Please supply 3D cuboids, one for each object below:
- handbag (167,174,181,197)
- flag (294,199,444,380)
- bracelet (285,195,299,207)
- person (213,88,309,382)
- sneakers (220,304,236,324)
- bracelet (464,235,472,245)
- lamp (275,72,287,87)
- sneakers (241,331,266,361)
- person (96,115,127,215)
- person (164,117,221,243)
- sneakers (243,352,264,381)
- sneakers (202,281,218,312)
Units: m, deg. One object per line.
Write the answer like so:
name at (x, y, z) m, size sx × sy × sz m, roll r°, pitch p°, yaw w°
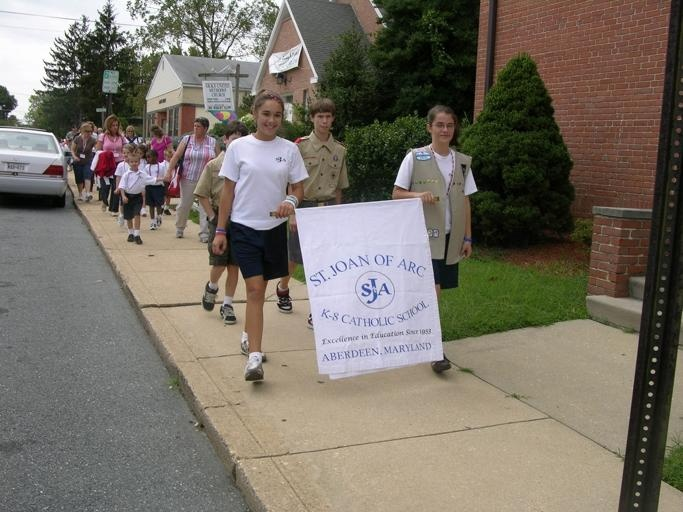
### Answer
handbag at (-3.576, -1.520, 12.576) m, size 0.281 × 0.521 × 0.487 m, roll 4°, pitch 7°, yaw -5°
flag at (0.283, 0.286, 5.119) m, size 1.288 × 1.678 × 0.129 m, roll -7°, pitch -3°, yaw -17°
bracelet at (-0.441, -0.491, 5.196) m, size 0.093 × 0.090 × 0.116 m, roll 11°, pitch 10°, yaw -7°
person at (-0.712, -0.206, 5.207) m, size 0.899 × 2.432 × 0.740 m, roll -10°, pitch 14°, yaw -43°
sneakers at (-1.268, 0.649, 6.575) m, size 0.102 × 0.130 × 0.286 m, roll -5°, pitch 10°, yaw -23°
bracelet at (1.204, -0.151, 5.625) m, size 0.057 × 0.044 × 0.080 m, roll 4°, pitch -20°, yaw 9°
lamp at (-3.131, -9.161, 30.613) m, size 0.476 × 0.559 × 0.607 m, roll 2°, pitch 3°, yaw 11°
sneakers at (-0.858, 0.860, 5.586) m, size 0.140 × 0.283 × 0.389 m, roll -1°, pitch 1°, yaw -27°
person at (-5.569, -2.156, 14.295) m, size 0.761 × 2.426 × 0.805 m, roll 11°, pitch 12°, yaw 27°
person at (-2.739, -1.435, 11.122) m, size 0.932 × 2.326 × 0.715 m, roll 3°, pitch 18°, yaw -11°
sneakers at (-0.731, 0.923, 4.916) m, size 0.138 × 0.230 × 0.225 m, roll -2°, pitch 11°, yaw -4°
sneakers at (-1.506, 0.468, 6.748) m, size 0.141 × 0.402 × 0.162 m, roll 0°, pitch 1°, yaw -27°
